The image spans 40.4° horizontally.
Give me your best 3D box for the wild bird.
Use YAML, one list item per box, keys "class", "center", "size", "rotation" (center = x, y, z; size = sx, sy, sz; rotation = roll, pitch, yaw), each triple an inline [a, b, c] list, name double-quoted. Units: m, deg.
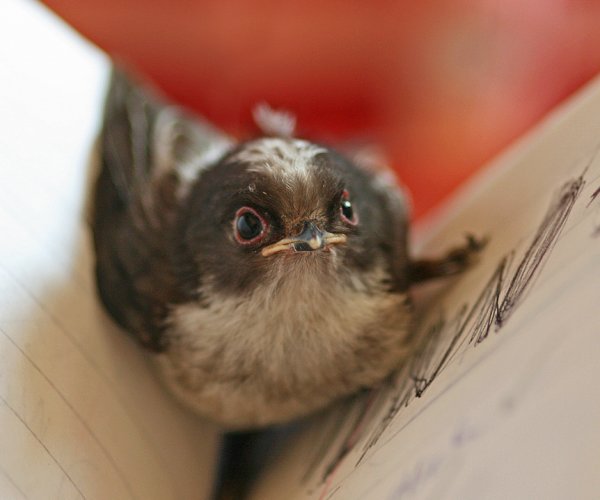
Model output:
- class: "wild bird"
  center: [-0.091, 0.045, 1.452]
  size: [0.416, 0.432, 0.738]
  rotation: [-5, 53, -27]
